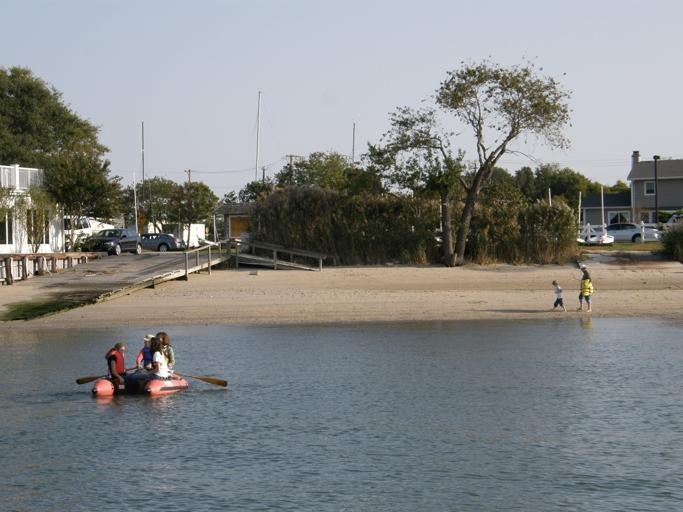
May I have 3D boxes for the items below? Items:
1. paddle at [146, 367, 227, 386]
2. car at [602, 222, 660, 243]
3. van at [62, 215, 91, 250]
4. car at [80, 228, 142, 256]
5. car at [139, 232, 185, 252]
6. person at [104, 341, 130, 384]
[{"bbox_3d":[-3.293,2.524,25.194,1.385,0.206,0.151,9,-13,5],"label":"paddle"},{"bbox_3d":[15.417,-1.290,63.050,1.726,0.887,3.065,-10,13,-44],"label":"car"},{"bbox_3d":[-12.831,-1.325,57.637,0.979,1.508,4.664,-2,9,-5],"label":"van"},{"bbox_3d":[-10.931,-0.727,57.782,1.136,0.997,2.596,-2,-6,27],"label":"car"},{"bbox_3d":[-10.108,-0.768,66.136,1.992,0.758,0.970,4,2,-3],"label":"car"},{"bbox_3d":[-4.695,2.179,24.881,0.373,0.889,0.502,-3,9,-12],"label":"person"}]
